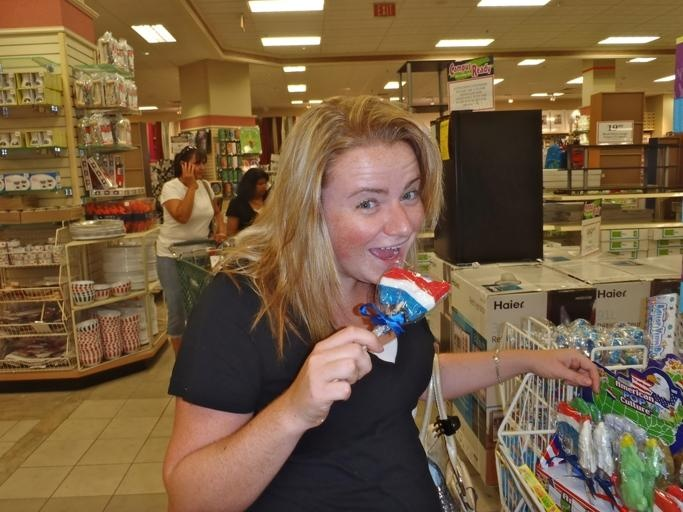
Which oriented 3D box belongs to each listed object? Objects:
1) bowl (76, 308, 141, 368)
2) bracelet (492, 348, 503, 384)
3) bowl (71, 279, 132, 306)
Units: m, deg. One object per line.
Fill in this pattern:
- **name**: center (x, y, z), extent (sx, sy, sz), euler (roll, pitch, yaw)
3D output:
- **bowl**: center (-2.059, 0.709, 4.273), extent (0.347, 0.390, 0.545), euler (2, 10, 11)
- **bracelet**: center (0.499, 0.353, 1.534), extent (0.023, 0.078, 0.059), euler (1, 3, 2)
- **bowl**: center (-2.085, 0.306, 4.142), extent (0.286, 0.112, 0.180), euler (-11, 1, -20)
